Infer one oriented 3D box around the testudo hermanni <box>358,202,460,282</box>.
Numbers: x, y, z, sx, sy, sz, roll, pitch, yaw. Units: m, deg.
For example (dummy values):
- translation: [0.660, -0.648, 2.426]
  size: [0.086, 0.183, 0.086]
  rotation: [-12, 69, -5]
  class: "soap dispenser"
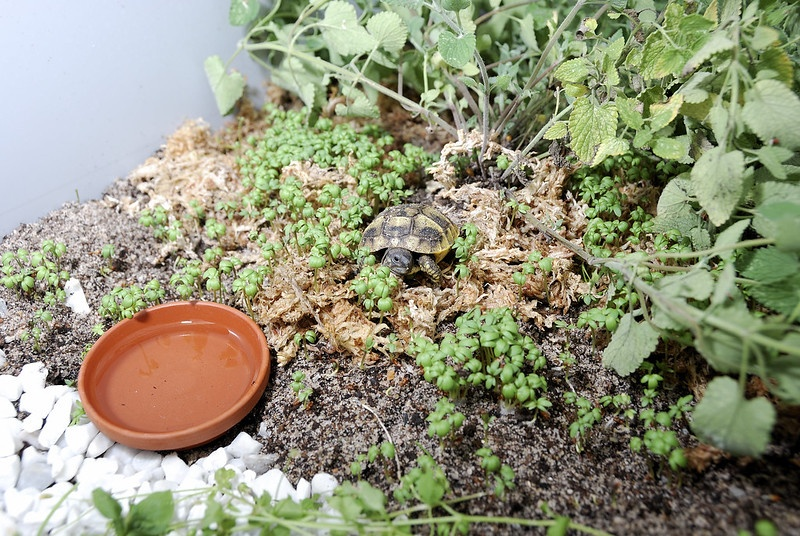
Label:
- translation: [0.038, -0.199, 3.813]
  size: [0.574, 0.321, 0.763]
  rotation: [2, 27, 14]
  class: "testudo hermanni"
